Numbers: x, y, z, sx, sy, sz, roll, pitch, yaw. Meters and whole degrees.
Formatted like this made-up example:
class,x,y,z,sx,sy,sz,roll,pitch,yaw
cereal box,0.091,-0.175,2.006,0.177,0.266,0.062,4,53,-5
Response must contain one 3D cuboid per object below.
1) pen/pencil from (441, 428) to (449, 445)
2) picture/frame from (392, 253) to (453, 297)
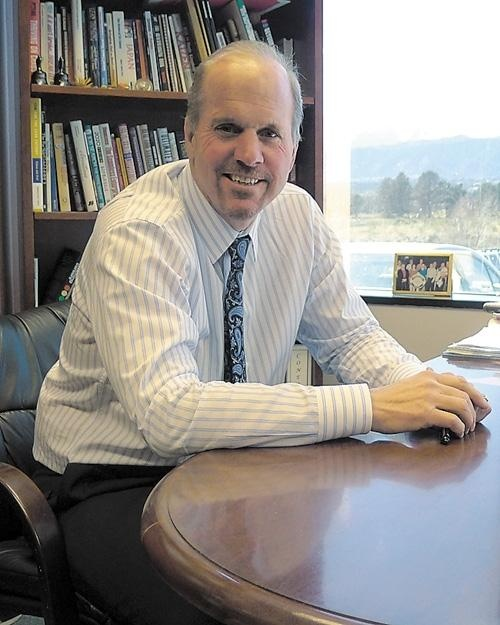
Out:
class,x,y,z,sx,sy,sz,roll,pitch,yaw
pen/pencil,0.264,0.169,0.708,0.008,0.010,0.031,6,27,12
picture/frame,0.847,-0.193,2.558,0.270,0.206,0.022,4,12,32
